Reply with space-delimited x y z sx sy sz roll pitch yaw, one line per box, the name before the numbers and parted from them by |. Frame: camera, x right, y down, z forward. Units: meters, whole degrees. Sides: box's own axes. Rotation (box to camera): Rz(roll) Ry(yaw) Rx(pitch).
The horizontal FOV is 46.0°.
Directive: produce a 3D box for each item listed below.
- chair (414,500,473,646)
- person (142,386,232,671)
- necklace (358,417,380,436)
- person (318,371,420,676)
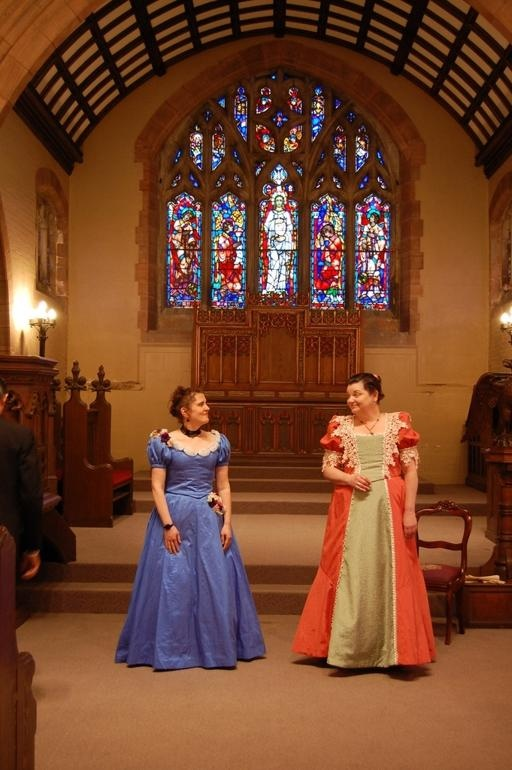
chair | 1.124 1.164 3.820 0.432 0.815 0.490 2 -4 -21
person | -0.341 0.453 3.255 0.421 0.861 0.367 1 -8 -3
necklace | 0.584 0.215 3.120 0.086 0.089 0.027 -8 1 7
person | 0.586 0.647 3.051 0.489 1.398 0.316 0 -8 0
